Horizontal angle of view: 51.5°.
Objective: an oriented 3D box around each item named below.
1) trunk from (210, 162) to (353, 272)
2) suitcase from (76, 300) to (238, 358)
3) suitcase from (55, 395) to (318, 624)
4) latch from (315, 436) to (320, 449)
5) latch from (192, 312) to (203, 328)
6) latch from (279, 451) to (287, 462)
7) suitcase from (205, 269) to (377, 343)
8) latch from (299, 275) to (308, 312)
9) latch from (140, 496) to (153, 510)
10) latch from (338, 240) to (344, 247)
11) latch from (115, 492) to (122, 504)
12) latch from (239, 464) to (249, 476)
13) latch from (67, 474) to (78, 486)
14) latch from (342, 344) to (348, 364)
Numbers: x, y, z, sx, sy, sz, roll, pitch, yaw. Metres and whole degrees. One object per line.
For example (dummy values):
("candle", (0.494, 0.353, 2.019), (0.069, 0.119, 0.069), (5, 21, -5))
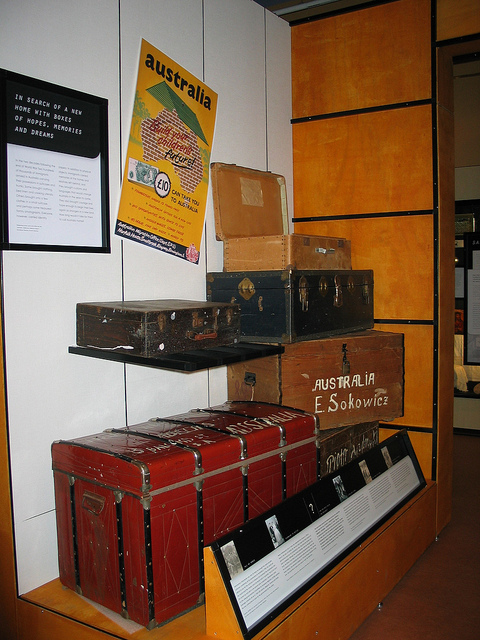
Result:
("trunk", (0.201, -0.517, 2.530), (0.476, 0.556, 0.617), (1, 5, 40))
("suitcase", (-0.259, 0.024, 1.774), (0.625, 0.200, 0.380), (-6, 5, -25))
("suitcase", (-0.177, 0.638, 1.873), (0.479, 0.569, 0.948), (1, 6, 43))
("latch", (0.343, 0.534, 2.177), (0.009, 0.051, 0.041), (2, -1, 18))
("latch", (-0.147, 0.001, 1.763), (0.022, 0.048, 0.039), (2, 3, 21))
("latch", (0.172, 0.538, 1.963), (0.022, 0.043, 0.036), (-1, -5, 1))
("suitcase", (0.319, -0.081, 2.487), (0.930, 0.354, 0.439), (-6, 5, -29))
("latch", (0.288, -0.115, 2.251), (0.016, 0.165, 0.063), (0, 4, 33))
("latch", (-0.263, 0.516, 1.410), (0.025, 0.048, 0.030), (1, 4, 14))
("latch", (0.526, -0.393, 2.583), (0.022, 0.040, 0.046), (4, 7, 31))
("latch", (-0.358, 0.524, 1.472), (0.020, 0.031, 0.006), (-6, -5, 44))
("latch", (0.017, 0.535, 1.784), (0.025, 0.045, 0.020), (-1, 5, -43))
("latch", (-0.545, 0.522, 1.622), (0.021, 0.038, 0.033), (3, -13, -10))
("latch", (0.521, 0.166, 2.457), (0.009, 0.092, 0.038), (1, 4, 44))
